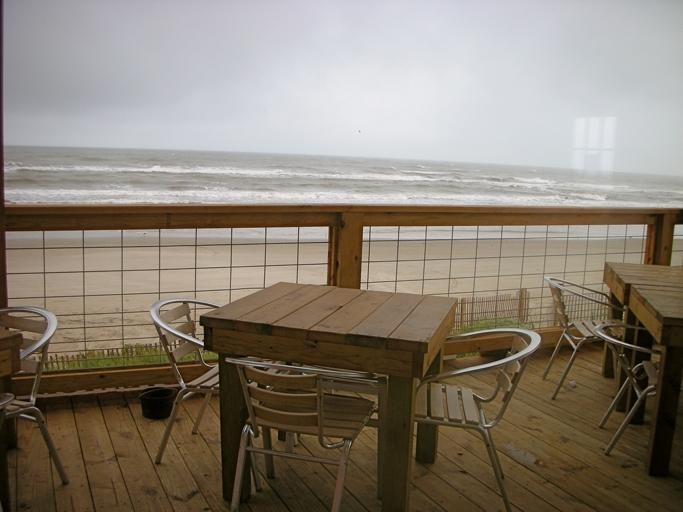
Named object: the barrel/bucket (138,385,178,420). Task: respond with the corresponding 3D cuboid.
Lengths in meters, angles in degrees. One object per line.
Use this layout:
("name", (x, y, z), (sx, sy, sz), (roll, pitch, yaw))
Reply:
("barrel/bucket", (-1.318, 1.071, 3.338), (0.313, 0.142, 0.218), (2, 2, 7))

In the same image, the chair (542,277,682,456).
("chair", (2.014, 0.860, 3.416), (0.952, 1.004, 0.889), (-10, 21, 0))
